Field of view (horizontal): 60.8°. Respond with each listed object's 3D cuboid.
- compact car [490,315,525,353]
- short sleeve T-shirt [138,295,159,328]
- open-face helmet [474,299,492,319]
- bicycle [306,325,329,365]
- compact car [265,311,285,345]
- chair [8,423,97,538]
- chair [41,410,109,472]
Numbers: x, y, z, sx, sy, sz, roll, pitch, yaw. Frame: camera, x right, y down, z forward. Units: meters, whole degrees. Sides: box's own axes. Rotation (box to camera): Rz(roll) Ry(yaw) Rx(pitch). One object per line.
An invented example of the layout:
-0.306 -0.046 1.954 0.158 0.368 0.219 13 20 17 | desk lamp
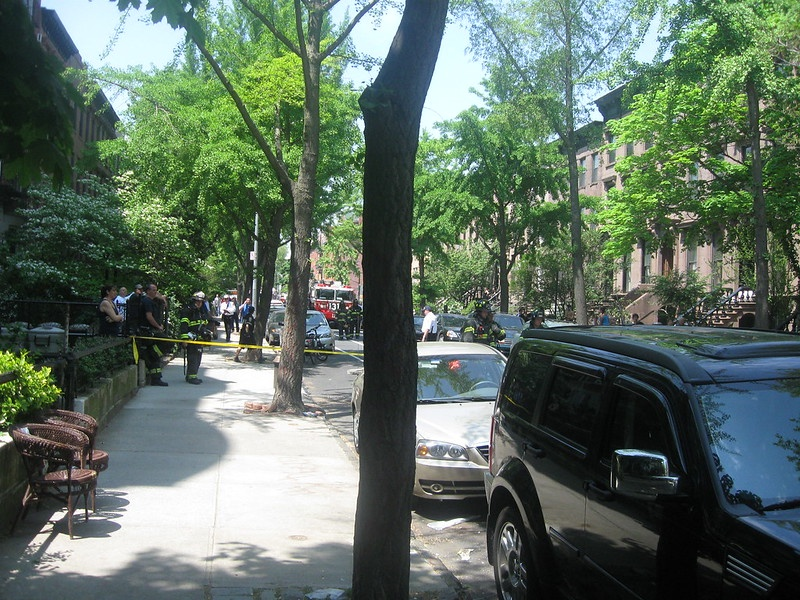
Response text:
3.881 1.069 23.815 1.436 1.251 3.229 0 -3 -1 | compact car
-6.002 0.274 15.990 0.402 0.757 0.726 -1 5 -18 | short sleeve T-shirt
1.710 0.193 13.886 0.362 0.375 0.323 2 14 4 | open-face helmet
-3.187 1.733 25.512 0.731 0.806 1.227 -3 -4 -2 | bicycle
-5.414 1.200 29.153 1.131 1.227 2.770 1 -1 -10 | compact car
-3.296 1.650 6.423 0.732 0.940 0.846 -1 -5 -8 | chair
-3.304 1.408 6.774 0.615 0.672 0.602 1 -1 3 | chair
